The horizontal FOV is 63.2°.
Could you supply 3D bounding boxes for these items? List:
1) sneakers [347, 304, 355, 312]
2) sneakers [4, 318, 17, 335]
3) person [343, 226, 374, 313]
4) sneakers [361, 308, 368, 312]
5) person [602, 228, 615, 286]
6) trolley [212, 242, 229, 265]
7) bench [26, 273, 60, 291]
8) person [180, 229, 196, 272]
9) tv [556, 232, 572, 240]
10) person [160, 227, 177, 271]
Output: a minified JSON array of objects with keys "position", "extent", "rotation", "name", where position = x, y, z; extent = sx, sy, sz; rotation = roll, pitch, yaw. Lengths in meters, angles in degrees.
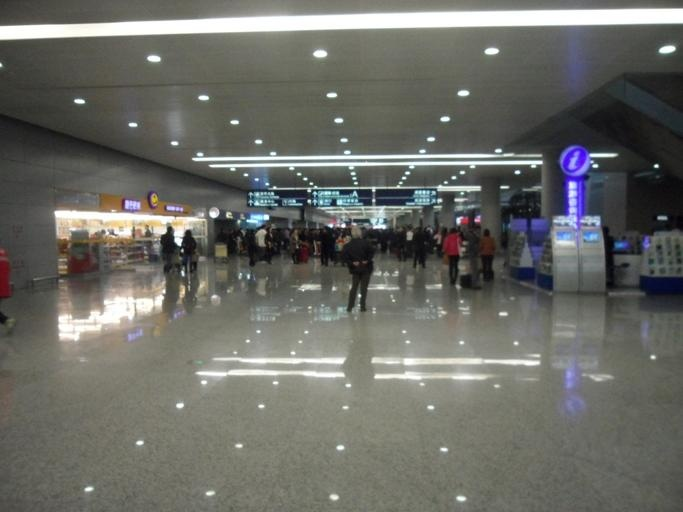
[{"position":[0.168,0.942,10.089],"extent":[0.103,0.192,0.136],"rotation":[1,-4,-29],"name":"sneakers"},{"position":[-5.154,1.100,8.613],"extent":[0.086,0.206,0.184],"rotation":[6,17,-42],"name":"sneakers"},{"position":[0.288,0.222,10.057],"extent":[0.555,1.631,0.868],"rotation":[-1,10,-6],"name":"person"},{"position":[0.410,0.991,10.085],"extent":[0.104,0.084,0.038],"rotation":[-2,3,-6],"name":"sneakers"},{"position":[5.967,0.046,12.411],"extent":[0.292,1.322,0.610],"rotation":[4,11,26],"name":"person"},{"position":[-4.985,-0.120,22.346],"extent":[0.732,1.001,0.786],"rotation":[0,1,-1],"name":"trolley"},{"position":[-7.501,0.624,14.058],"extent":[0.348,0.315,0.978],"rotation":[1,11,4],"name":"bench"},{"position":[-4.802,-0.142,17.435],"extent":[0.427,1.419,0.683],"rotation":[-3,10,-15],"name":"person"},{"position":[4.849,-0.430,12.084],"extent":[0.357,0.187,0.148],"rotation":[-2,10,-9],"name":"tv"},{"position":[-5.486,-0.242,17.681],"extent":[0.453,1.476,0.893],"rotation":[-3,10,-17],"name":"person"}]
